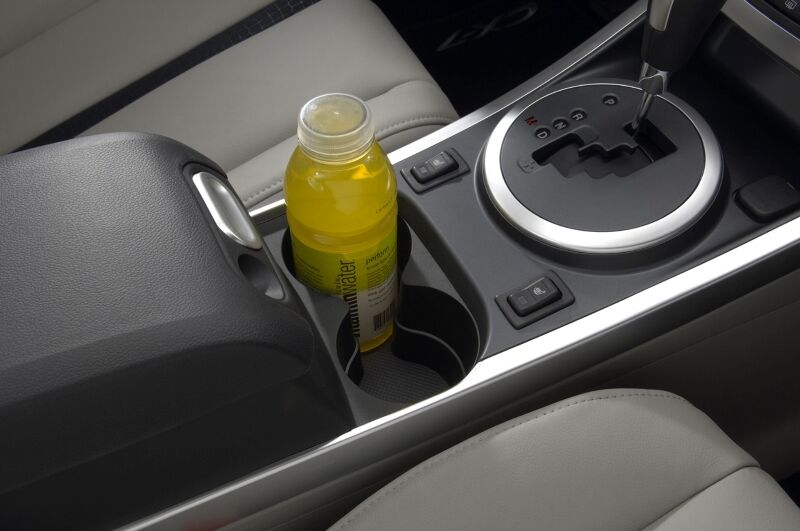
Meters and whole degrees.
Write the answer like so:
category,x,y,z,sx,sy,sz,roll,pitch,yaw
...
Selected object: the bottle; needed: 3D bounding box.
category,x,y,z,sx,sy,sz,roll,pitch,yaw
bottle,-0.063,-0.033,0.661,0.149,0.327,0.144,-2,58,3
